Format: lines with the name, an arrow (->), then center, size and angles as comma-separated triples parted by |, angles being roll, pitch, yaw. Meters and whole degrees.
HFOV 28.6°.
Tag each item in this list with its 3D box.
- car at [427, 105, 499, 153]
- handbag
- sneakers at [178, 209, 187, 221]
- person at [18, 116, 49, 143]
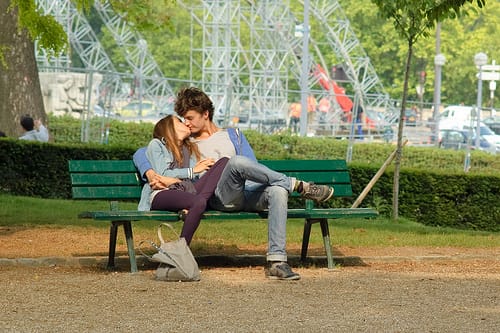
car -> 9.228, -1.602, 41.470 | 2.099, 1.892, 3.594 | -1, 1, -22
handbag -> -1.787, 1.940, 21.726 | 1.031, 1.290, 1.455 | 3, -8, -40
sneakers -> -1.460, 1.075, 21.599 | 0.197, 0.215, 0.243 | 1, -8, -5
person -> -6.338, -1.111, 28.573 | 0.814, 0.724, 1.087 | 3, 3, 21
